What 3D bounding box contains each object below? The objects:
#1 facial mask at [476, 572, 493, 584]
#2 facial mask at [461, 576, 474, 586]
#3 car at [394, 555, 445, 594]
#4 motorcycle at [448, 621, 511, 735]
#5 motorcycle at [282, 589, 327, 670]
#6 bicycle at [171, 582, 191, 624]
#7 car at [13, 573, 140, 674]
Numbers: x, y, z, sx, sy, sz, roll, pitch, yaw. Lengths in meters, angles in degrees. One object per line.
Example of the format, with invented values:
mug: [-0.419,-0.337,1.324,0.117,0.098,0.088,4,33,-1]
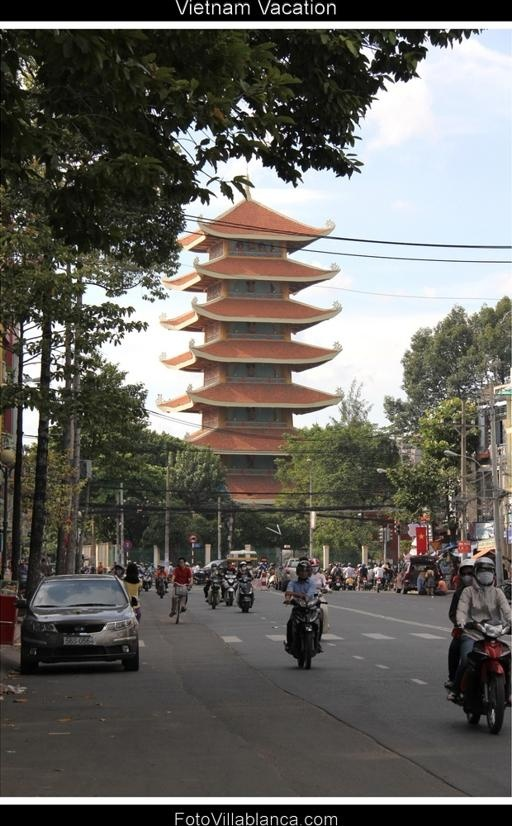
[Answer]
facial mask: [2.127,1.528,10.592,0.122,0.109,0.128,3,-12,3]
facial mask: [2.003,1.593,10.883,0.069,0.081,0.083,1,10,-4]
car: [8.911,8.639,61.313,1.407,1.570,2.674,0,-2,0]
motorcycle: [2.092,2.335,10.190,0.413,0.944,1.109,3,-7,-7]
motorcycle: [0.709,3.220,17.020,0.538,1.049,1.198,2,-7,3]
bicycle: [-1.936,4.761,28.937,0.680,0.905,1.484,4,-8,-5]
car: [-2.511,2.959,16.344,0.959,0.878,1.979,1,0,-6]
